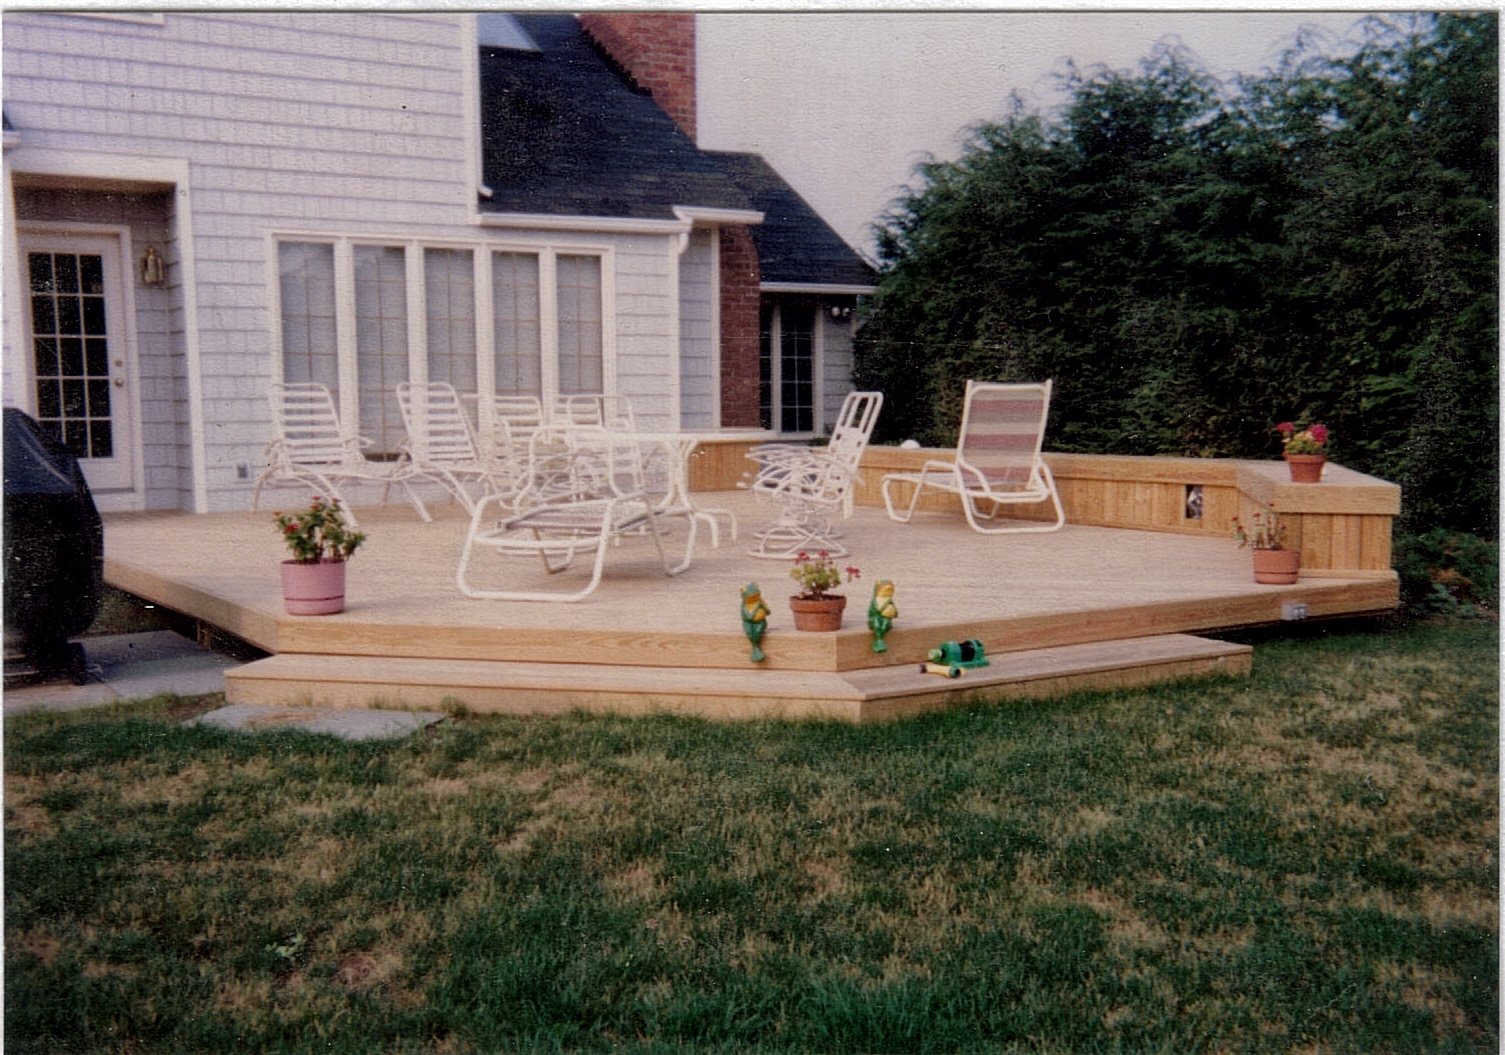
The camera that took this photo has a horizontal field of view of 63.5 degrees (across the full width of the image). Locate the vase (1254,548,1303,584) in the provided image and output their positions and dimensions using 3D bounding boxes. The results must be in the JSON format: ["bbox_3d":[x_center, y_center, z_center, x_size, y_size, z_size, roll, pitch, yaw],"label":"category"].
[{"bbox_3d":[3.297,0.252,7.650,0.260,0.148,0.225,-1,3,3],"label":"vase"}]

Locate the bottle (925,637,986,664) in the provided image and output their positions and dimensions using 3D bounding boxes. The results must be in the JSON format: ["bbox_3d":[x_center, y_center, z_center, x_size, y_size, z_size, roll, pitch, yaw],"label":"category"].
[{"bbox_3d":[1.078,0.652,6.349,0.217,0.082,0.143,-1,3,-17],"label":"bottle"}]

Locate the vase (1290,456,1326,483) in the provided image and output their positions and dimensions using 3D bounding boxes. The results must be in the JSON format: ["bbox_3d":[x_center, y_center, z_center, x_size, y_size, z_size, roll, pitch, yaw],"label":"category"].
[{"bbox_3d":[3.793,-0.388,8.307,0.204,0.129,0.207,1,2,41],"label":"vase"}]

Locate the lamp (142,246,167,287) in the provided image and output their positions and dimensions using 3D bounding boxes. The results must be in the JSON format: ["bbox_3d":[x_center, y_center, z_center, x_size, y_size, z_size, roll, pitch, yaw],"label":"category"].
[{"bbox_3d":[-5.526,-2.401,11.247,0.156,0.340,0.190,3,6,41],"label":"lamp"}]

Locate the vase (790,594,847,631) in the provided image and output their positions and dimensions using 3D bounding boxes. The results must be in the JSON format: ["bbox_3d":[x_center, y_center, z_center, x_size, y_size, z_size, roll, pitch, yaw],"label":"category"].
[{"bbox_3d":[0.337,0.457,6.374,0.231,0.118,0.216,0,-1,-2],"label":"vase"}]

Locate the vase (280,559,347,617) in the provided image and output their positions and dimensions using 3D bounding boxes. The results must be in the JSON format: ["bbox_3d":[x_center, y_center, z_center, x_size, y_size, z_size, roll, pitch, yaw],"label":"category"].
[{"bbox_3d":[-2.404,0.337,6.674,0.325,0.227,0.328,1,-1,-32],"label":"vase"}]

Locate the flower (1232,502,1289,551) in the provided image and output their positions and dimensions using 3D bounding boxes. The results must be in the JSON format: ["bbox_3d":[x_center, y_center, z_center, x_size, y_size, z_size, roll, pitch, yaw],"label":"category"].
[{"bbox_3d":[3.465,0.000,8.264,0.231,0.258,0.397,-2,-1,9],"label":"flower"}]
